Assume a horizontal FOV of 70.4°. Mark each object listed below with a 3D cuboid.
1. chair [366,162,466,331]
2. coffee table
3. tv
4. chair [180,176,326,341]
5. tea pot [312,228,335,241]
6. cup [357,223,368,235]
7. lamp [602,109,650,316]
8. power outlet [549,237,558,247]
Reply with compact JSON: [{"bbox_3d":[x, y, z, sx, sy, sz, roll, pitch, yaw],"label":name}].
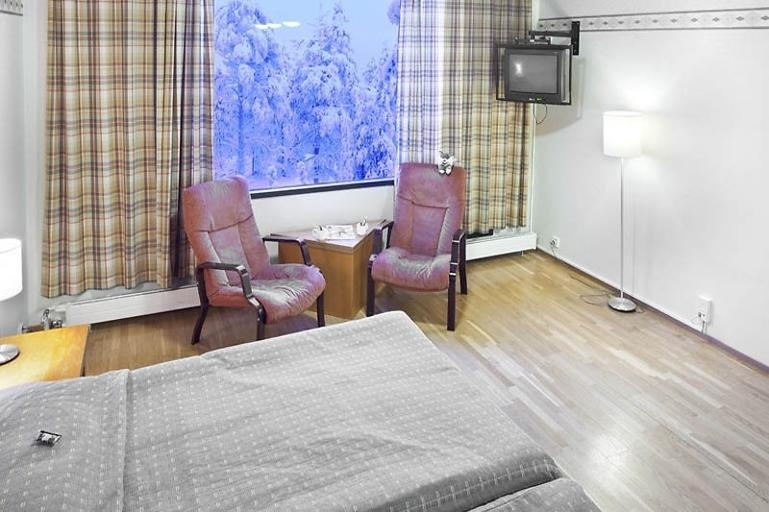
[{"bbox_3d":[0.352,-0.161,5.326,0.900,1.344,1.122,4,16,9],"label":"chair"},{"bbox_3d":[-0.455,0.043,5.554,1.127,1.108,0.846,6,16,27],"label":"coffee table"},{"bbox_3d":[1.638,-1.986,5.887,0.908,0.708,0.565,7,18,24],"label":"tv"},{"bbox_3d":[-1.162,0.060,4.873,1.056,1.367,0.924,11,20,24],"label":"chair"},{"bbox_3d":[-0.589,-0.216,5.294,0.186,0.138,0.123,3,11,16],"label":"tea pot"},{"bbox_3d":[-0.224,-0.267,5.416,0.124,0.099,0.102,1,8,-5],"label":"cup"},{"bbox_3d":[2.312,-0.435,5.266,0.429,1.816,0.695,3,20,16],"label":"lamp"},{"bbox_3d":[2.007,-0.159,6.323,0.014,0.122,0.142,-11,21,-22],"label":"power outlet"}]
